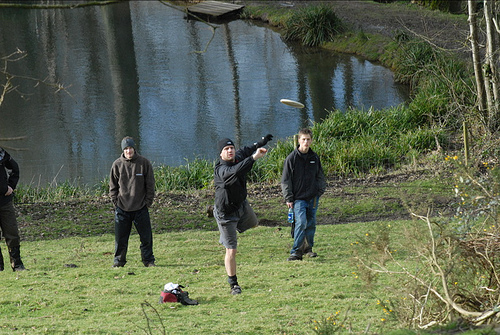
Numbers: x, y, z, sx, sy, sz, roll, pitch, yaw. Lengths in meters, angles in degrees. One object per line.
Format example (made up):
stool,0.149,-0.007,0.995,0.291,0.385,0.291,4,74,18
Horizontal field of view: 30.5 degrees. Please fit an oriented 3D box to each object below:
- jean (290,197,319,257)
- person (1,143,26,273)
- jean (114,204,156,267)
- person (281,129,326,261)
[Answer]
jean,1.664,1.839,28.111,0.882,1.787,0.390,-3,5,2
person,-7.287,1.294,28.023,0.556,3.736,0.811,-4,5,-15
jean,-3.610,2.102,28.291,1.202,2.261,0.728,-1,-28,-11
person,1.625,0.822,28.105,1.257,3.984,0.709,-3,5,-3
